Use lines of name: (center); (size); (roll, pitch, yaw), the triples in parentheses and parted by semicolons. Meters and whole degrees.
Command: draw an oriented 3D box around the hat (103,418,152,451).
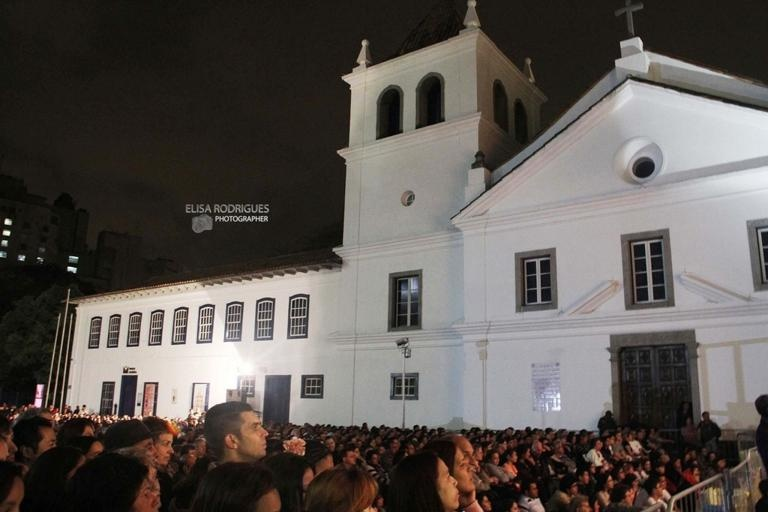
hat: (-3.554, 2.442, 8.079); (0.485, 0.191, 0.425); (-1, -8, -11)
